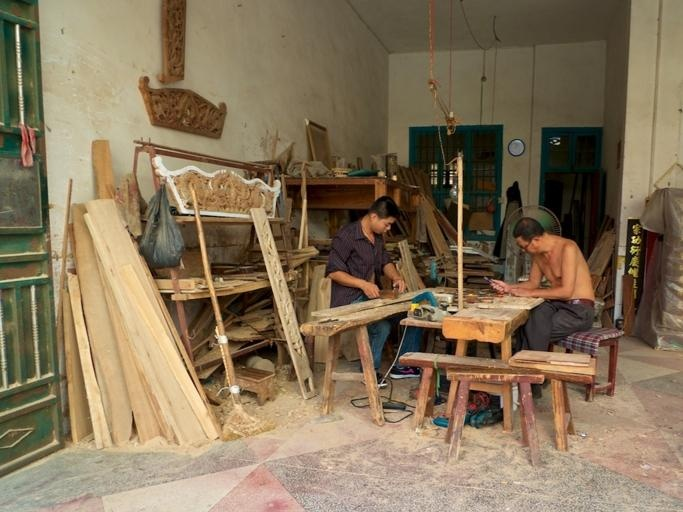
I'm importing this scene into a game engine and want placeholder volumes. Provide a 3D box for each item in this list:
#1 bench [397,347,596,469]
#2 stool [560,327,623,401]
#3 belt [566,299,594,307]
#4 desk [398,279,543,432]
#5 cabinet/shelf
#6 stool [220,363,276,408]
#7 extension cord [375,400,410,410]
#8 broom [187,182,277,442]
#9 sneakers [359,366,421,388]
[{"bbox_3d":[1.372,1.471,4.431,1.362,0.696,0.913,1,5,24],"label":"bench"},{"bbox_3d":[2.556,1.019,5.279,0.634,0.789,0.802,-1,0,31],"label":"stool"},{"bbox_3d":[2.388,0.473,5.274,0.248,0.076,0.138,-2,11,3],"label":"belt"},{"bbox_3d":[1.118,0.758,4.745,0.923,0.961,1.458,-1,-1,21],"label":"desk"},{"bbox_3d":[-1.019,0.217,5.140,0.836,2.466,1.773,-22,-9,30],"label":"cabinet/shelf"},{"bbox_3d":[-0.810,1.219,5.177,0.509,0.248,0.272,-1,0,39],"label":"stool"},{"bbox_3d":[0.471,1.393,4.962,0.159,0.048,0.162,3,1,-6],"label":"extension cord"},{"bbox_3d":[-1.013,0.420,4.788,0.459,2.067,1.168,-6,12,-16],"label":"broom"},{"bbox_3d":[0.559,1.283,5.706,0.544,0.228,0.196,-2,2,-6],"label":"sneakers"}]
